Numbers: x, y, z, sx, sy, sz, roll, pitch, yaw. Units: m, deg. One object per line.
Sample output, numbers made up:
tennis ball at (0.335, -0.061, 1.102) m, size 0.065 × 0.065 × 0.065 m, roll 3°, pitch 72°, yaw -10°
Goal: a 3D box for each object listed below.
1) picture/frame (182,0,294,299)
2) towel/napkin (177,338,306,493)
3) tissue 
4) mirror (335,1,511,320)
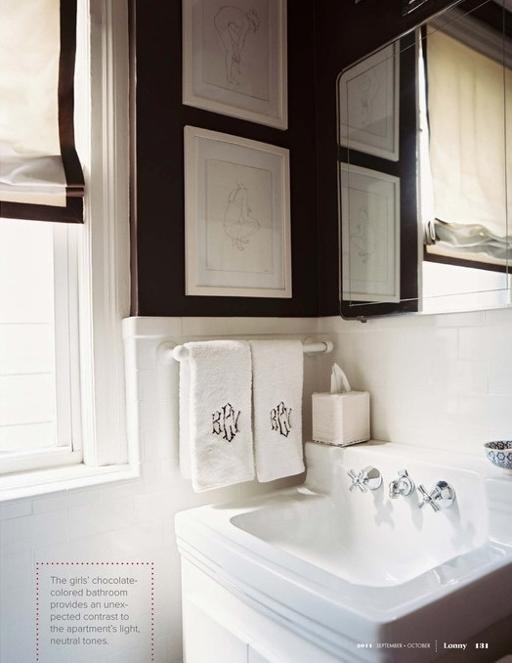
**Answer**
picture/frame at (-0.047, -0.529, 1.479) m, size 0.084 × 0.882 × 0.401 m, roll -1°, pitch 3°, yaw 42°
towel/napkin at (-0.045, 0.200, 1.301) m, size 0.305 × 0.377 × 0.083 m, roll -1°, pitch 1°, yaw -33°
tissue  at (0.230, 0.190, 1.441) m, size 0.129 × 0.226 × 0.147 m, roll -3°, pitch -2°, yaw 24°
mirror at (0.371, -0.410, 1.294) m, size 0.099 × 0.746 × 0.548 m, roll -3°, pitch 2°, yaw -23°
